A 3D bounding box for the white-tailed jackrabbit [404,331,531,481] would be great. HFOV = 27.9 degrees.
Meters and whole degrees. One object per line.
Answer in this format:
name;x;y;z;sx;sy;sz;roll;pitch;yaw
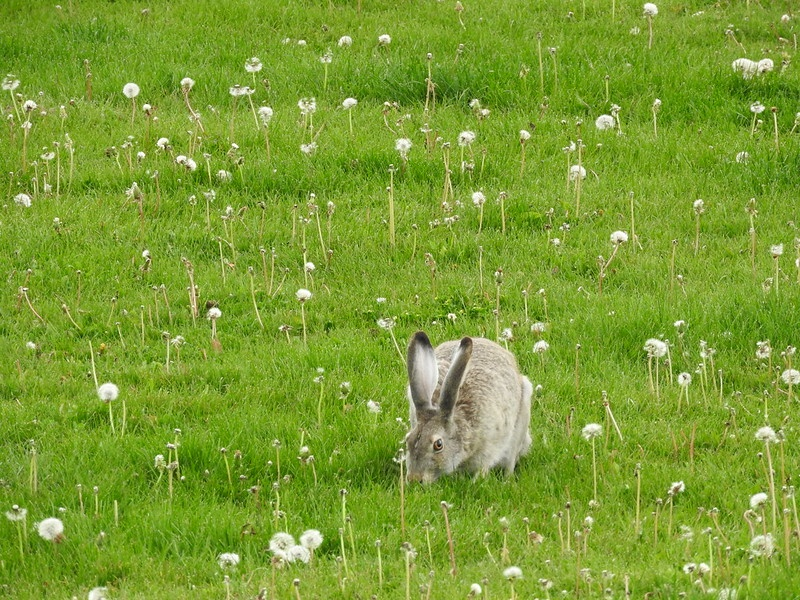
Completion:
white-tailed jackrabbit;0.597;0.913;14.829;0.786;1.367;1.427;3;21;26
